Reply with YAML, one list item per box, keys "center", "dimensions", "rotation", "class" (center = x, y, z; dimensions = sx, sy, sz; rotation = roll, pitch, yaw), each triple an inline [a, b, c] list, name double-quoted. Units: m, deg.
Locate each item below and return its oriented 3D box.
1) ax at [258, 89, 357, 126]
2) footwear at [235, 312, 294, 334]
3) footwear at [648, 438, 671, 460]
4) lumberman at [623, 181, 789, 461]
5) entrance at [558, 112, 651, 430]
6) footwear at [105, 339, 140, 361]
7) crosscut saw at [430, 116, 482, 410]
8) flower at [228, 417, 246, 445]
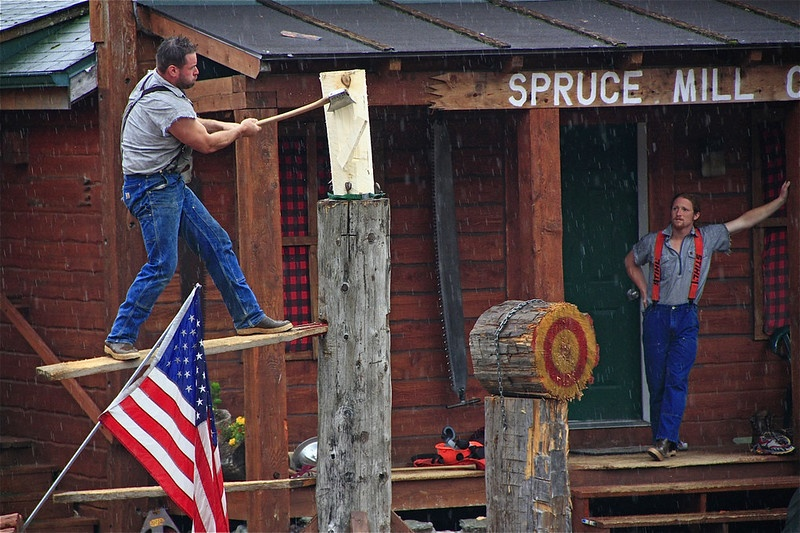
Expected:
- center: [-1.070, -1.605, 23.095]
  dimensions: [1.057, 0.136, 0.374]
  rotation: [-17, -6, -7]
  class: "ax"
- center: [-1.438, 0.610, 23.444]
  dimensions: [0.584, 0.193, 0.209]
  rotation: [-5, -2, 5]
  class: "footwear"
- center: [3.048, 2.135, 25.959]
  dimensions: [0.135, 0.171, 0.405]
  rotation: [6, -8, 38]
  class: "footwear"
- center: [3.332, 0.475, 25.920]
  dimensions: [1.994, 4.997, 0.980]
  rotation: [-2, -4, 16]
  class: "lumberman"
- center: [2.504, 0.058, 27.246]
  dimensions: [1.230, 3.502, 0.472]
  rotation: [1, 15, -4]
  class: "entrance"
- center: [-2.939, 0.891, 23.130]
  dimensions: [0.417, 0.165, 0.162]
  rotation: [0, 1, 38]
  class: "footwear"
- center: [0.583, -0.195, 26.696]
  dimensions: [0.355, 2.834, 0.788]
  rotation: [1, 14, 7]
  class: "crosscut saw"
- center: [-1.944, 1.939, 26.146]
  dimensions: [0.190, 0.340, 0.338]
  rotation: [-1, -5, -4]
  class: "flower"
